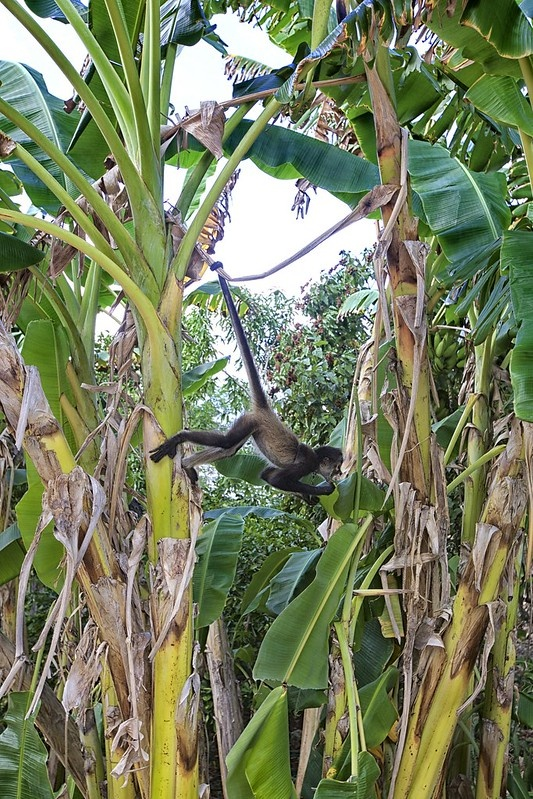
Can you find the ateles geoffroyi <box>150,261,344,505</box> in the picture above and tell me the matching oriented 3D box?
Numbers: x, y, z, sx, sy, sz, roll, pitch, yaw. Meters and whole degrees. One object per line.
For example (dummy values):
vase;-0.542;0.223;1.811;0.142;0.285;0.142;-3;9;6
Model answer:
ateles geoffroyi;-0.129;0.015;3.418;0.434;0.625;0.869;-21;-11;16
